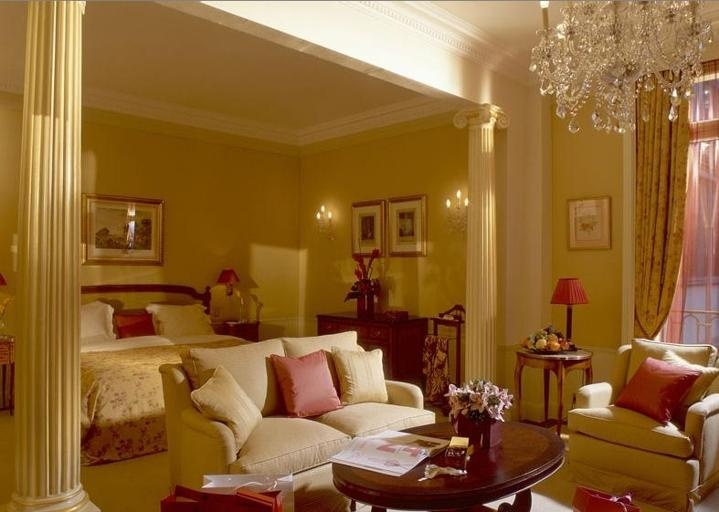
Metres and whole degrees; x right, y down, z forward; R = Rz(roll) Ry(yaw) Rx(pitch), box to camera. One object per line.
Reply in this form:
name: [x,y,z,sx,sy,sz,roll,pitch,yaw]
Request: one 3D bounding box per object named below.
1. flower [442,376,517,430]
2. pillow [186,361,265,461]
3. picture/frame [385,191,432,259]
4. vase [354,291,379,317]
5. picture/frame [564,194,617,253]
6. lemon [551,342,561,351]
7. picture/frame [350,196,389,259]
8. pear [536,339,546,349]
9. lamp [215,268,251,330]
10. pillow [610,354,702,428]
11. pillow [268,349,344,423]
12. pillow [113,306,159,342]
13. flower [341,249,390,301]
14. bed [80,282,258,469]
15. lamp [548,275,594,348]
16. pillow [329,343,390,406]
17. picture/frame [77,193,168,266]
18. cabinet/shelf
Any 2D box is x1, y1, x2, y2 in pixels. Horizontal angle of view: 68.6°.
flower: [0.854,1.015,3.742,0.382,0.227,0.395,-2,-4,26]
pillow: [-0.982,1.142,3.958,0.322,0.625,0.445,-3,0,13]
picture/frame: [0.681,-0.410,7.126,0.922,1.146,0.088,-2,-3,43]
vase: [0.094,0.640,7.094,0.296,0.333,0.298,0,0,-9]
picture/frame: [2.621,-0.360,5.951,0.057,0.892,0.666,3,-4,-44]
lemon: [1.928,0.884,5.212,0.089,0.080,0.083,2,11,41]
picture/frame: [0.126,-0.384,7.608,0.624,0.756,0.035,-8,10,-40]
pear: [1.792,0.874,5.256,0.085,0.107,0.085,20,55,35]
lamp: [-1.891,0.581,7.711,0.600,0.822,0.368,0,5,-20]
pillow: [2.352,1.249,4.666,0.853,0.202,0.829,6,-4,18]
pillow: [-0.452,1.102,4.580,0.309,0.498,0.569,-2,-2,43]
pillow: [-2.806,0.851,6.637,0.401,0.393,0.162,-5,-38,-32]
flower: [0.035,0.173,7.495,0.446,0.528,0.405,7,15,35]
bed: [-2.437,1.252,6.251,2.183,1.354,3.042,-4,1,-27]
lamp: [2.151,0.591,5.428,0.368,0.751,0.364,-7,12,-9]
pillow: [0.011,1.107,4.857,0.534,0.471,0.271,6,-6,-35]
picture/frame: [-3.094,-0.329,6.966,0.975,0.876,0.051,1,1,-9]
cabinet/shelf: [0.074,1.190,6.964,1.272,0.806,0.614,1,4,39]
